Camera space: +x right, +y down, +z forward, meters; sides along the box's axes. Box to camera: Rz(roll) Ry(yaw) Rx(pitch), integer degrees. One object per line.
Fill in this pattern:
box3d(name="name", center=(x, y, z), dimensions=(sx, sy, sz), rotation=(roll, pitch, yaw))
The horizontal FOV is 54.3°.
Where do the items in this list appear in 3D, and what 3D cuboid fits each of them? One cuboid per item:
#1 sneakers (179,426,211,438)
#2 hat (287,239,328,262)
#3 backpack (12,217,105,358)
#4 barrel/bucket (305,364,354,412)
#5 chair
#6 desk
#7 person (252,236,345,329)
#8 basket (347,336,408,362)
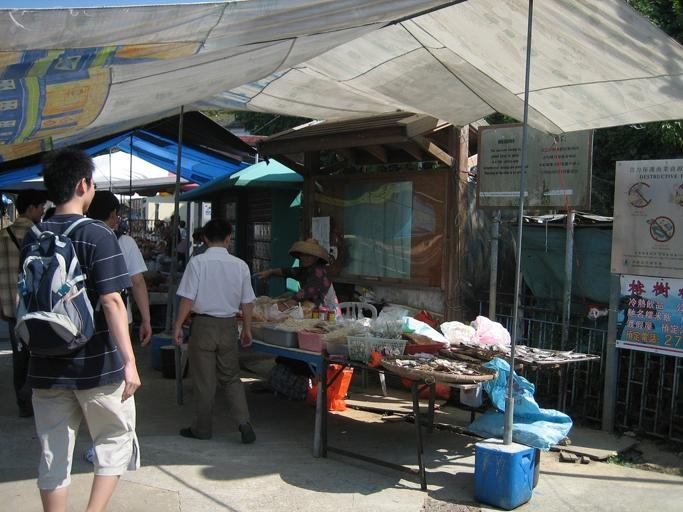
box3d(name="sneakers", center=(-1.427, 1.677, 6.432), dimensions=(0.277, 0.078, 0.116), rotation=(10, 0, 20))
box3d(name="hat", center=(-0.349, -0.074, 7.605), dimensions=(0.328, 0.155, 0.323), rotation=(11, -13, -36))
box3d(name="backpack", center=(-1.901, 0.190, 4.387), dimensions=(0.544, 0.817, 0.488), rotation=(-2, 5, -5))
box3d(name="barrel/bucket", center=(-0.154, 1.438, 7.566), dimensions=(0.515, 0.483, 0.373), rotation=(10, -4, 15))
box3d(name="chair", center=(0.229, 1.080, 8.161), dimensions=(0.746, 1.046, 0.395), rotation=(1, -4, 6))
box3d(name="desk", center=(0.372, 1.283, 6.252), dimensions=(3.436, 1.123, 1.346), rotation=(5, 7, 25))
box3d(name="person", center=(-0.483, 0.425, 7.898), dimensions=(1.060, 1.514, 0.825), rotation=(9, -26, -11))
box3d(name="basket", center=(0.294, 0.803, 5.784), dimensions=(0.514, 0.238, 0.202), rotation=(2, 7, 5))
